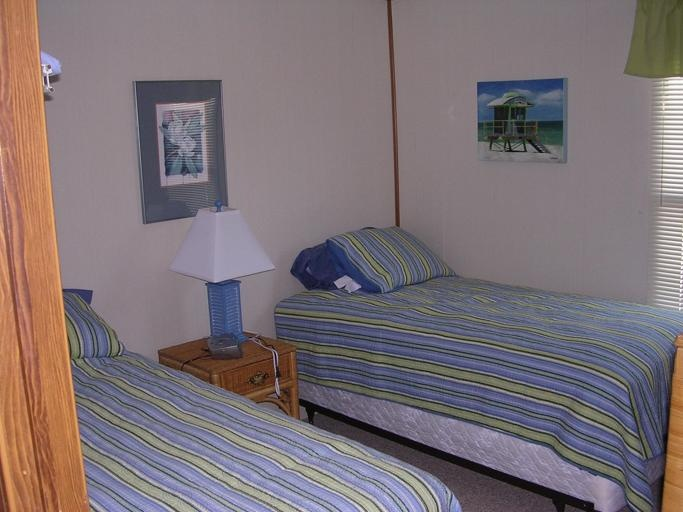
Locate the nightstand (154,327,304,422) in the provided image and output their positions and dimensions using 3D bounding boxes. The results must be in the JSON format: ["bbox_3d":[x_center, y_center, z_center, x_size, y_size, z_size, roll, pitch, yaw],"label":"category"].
[{"bbox_3d":[-0.603,0.558,3.107,0.558,0.548,0.548,7,16,36],"label":"nightstand"}]
